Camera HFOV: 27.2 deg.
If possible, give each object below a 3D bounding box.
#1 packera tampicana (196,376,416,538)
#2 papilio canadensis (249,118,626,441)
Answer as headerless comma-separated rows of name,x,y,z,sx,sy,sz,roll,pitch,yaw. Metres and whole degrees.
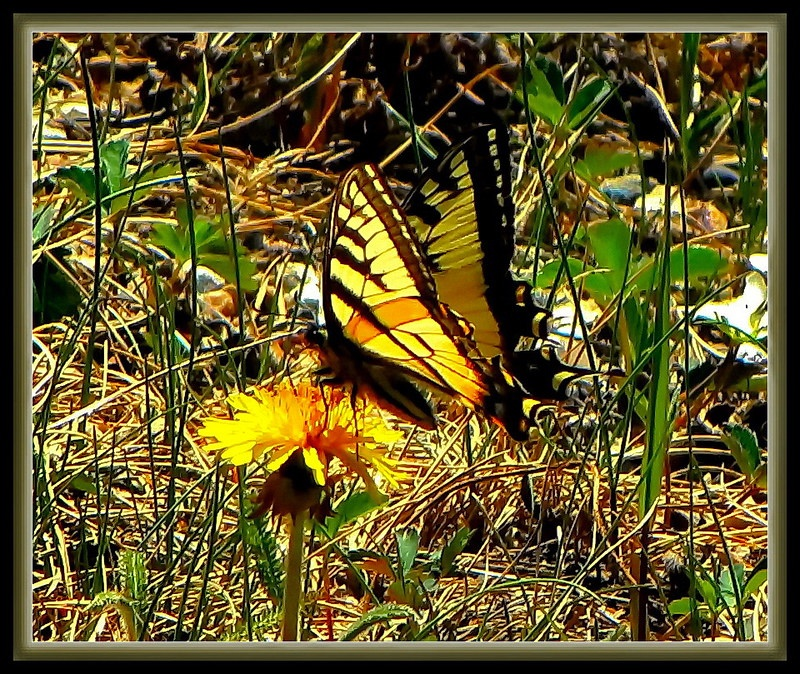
packera tampicana,-0.111,0.114,1.829,0.155,0.061,0.163,14,-4,31
papilio canadensis,0.050,-0.045,2.072,0.402,0.337,0.350,2,22,-34
